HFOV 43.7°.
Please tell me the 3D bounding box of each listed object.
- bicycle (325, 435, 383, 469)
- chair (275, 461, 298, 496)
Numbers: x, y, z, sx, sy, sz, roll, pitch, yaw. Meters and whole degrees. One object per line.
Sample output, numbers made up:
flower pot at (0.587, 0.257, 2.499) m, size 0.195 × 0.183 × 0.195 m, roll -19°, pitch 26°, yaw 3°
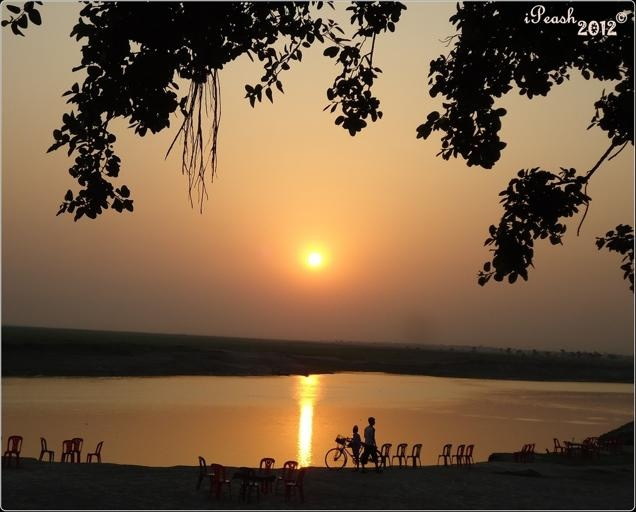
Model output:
bicycle at (1.255, 6.709, 26.671) m, size 1.963 × 1.221 × 0.765 m, roll 2°, pitch 5°, yaw 3°
chair at (-0.765, 5.424, 19.141) m, size 0.464 × 0.771 × 0.515 m, roll -1°, pitch -4°, yaw 25°
